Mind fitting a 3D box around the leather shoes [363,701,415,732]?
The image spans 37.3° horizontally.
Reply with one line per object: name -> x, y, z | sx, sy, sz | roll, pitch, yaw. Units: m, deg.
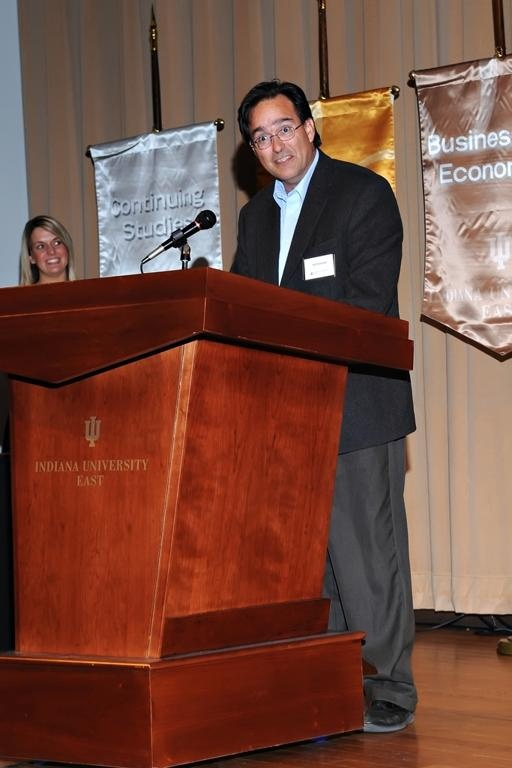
leather shoes -> 0.282, 0.705, 1.609 | 0.095, 0.037, 0.166 | -3, -11, 16

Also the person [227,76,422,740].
person -> 0.152, -0.018, 1.812 | 0.438, 1.533, 0.467 | -2, -10, 12
